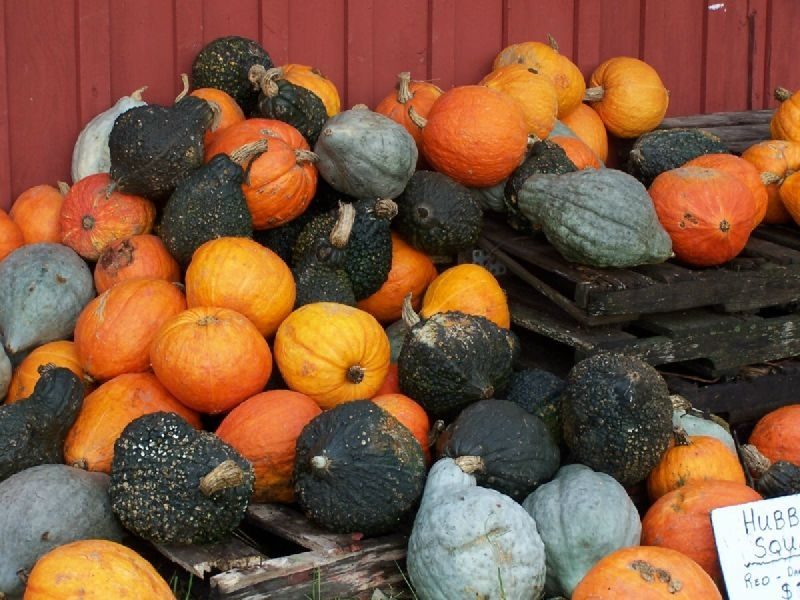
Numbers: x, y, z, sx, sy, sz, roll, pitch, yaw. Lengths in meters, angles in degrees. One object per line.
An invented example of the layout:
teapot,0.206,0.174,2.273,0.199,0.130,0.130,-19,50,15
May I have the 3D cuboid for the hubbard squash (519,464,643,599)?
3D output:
hubbard squash,0.736,0.923,3.392,0.412,0.326,0.497,14,79,2
